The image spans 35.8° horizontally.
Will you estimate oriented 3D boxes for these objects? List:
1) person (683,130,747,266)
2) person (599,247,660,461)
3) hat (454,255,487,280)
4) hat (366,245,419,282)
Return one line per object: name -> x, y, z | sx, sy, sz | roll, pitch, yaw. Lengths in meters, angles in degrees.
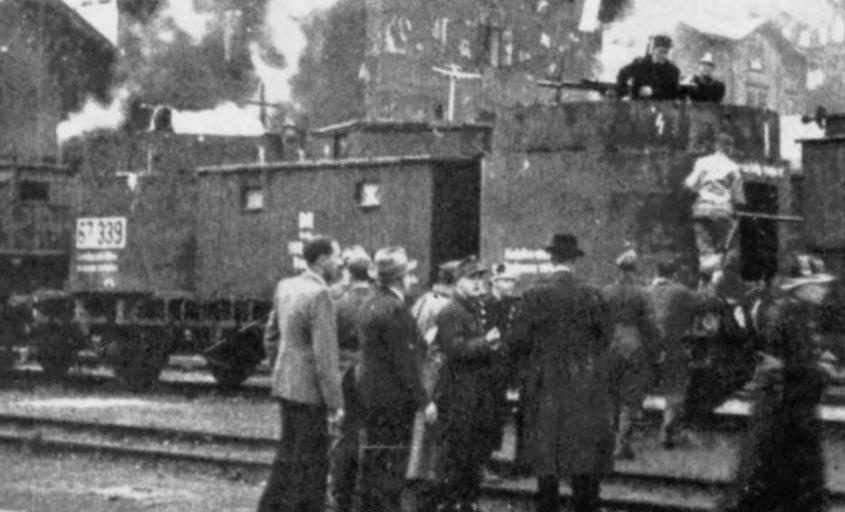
person -> 2.079, -0.402, 9.357 | 0.368, 1.200, 0.350 | 12, 40, 22
person -> 1.430, 0.619, 9.451 | 0.449, 1.707, 0.460 | -2, 20, 13
hat -> 0.335, 0.088, 9.212 | 0.202, 0.138, 0.137 | -10, -8, 33
hat -> -0.246, 0.070, 9.355 | 0.252, 0.143, 0.319 | -5, 3, 27
